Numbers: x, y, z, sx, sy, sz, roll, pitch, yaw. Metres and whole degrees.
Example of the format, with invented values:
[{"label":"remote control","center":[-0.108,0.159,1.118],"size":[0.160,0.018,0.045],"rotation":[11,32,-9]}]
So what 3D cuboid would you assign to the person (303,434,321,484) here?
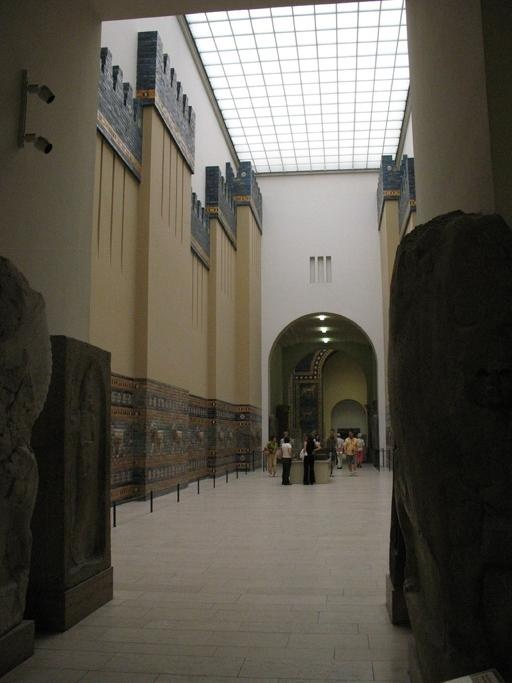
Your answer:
[{"label":"person","center":[1.788,3.931,16.165],"size":[0.379,1.819,0.371],"rotation":[2,10,8]}]

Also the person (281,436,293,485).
[{"label":"person","center":[1.023,3.965,16.123],"size":[0.337,1.635,1.209],"rotation":[-1,-8,4]}]
